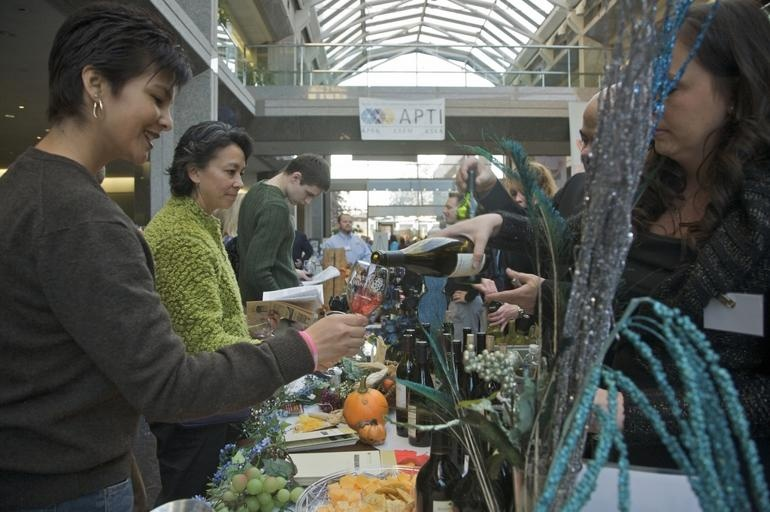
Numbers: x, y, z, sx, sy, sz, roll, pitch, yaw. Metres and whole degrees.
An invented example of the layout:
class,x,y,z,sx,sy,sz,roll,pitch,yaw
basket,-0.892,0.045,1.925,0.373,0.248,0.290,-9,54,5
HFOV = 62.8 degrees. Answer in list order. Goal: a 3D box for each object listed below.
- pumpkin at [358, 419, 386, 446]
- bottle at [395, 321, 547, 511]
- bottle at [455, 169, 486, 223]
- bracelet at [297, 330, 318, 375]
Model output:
class,x,y,z,sx,sy,sz,roll,pitch,yaw
pumpkin,-0.039,0.543,1.965,0.067,0.069,0.069,-11,-12,43
bottle,0.171,0.326,1.287,0.327,0.349,0.312,-4,-3,-10
bottle,0.224,-0.153,1.687,0.041,0.147,0.030,-27,61,-25
bracelet,-0.190,0.236,1.561,0.030,0.080,0.064,-13,39,-23
